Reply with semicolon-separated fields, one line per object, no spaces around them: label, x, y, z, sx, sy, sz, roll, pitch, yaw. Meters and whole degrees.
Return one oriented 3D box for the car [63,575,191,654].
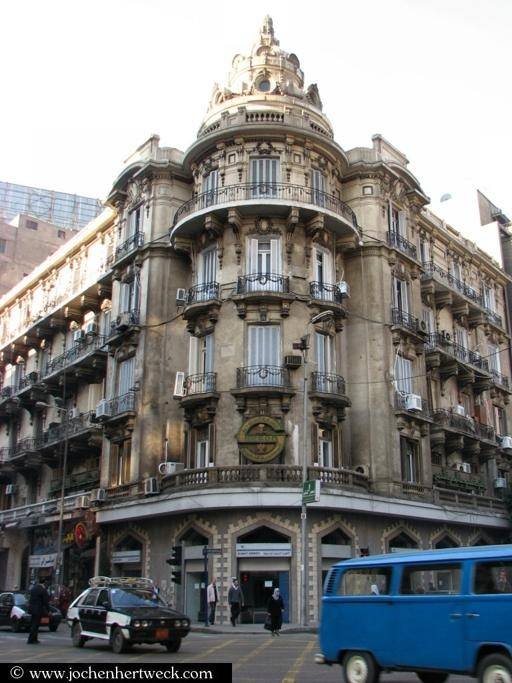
car;-2.779;6.032;16.177;1.525;1.254;2.894;18;-29;-35
